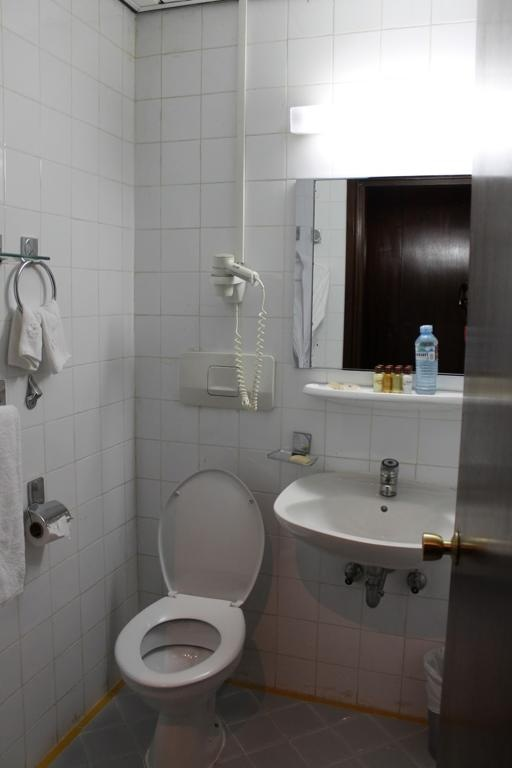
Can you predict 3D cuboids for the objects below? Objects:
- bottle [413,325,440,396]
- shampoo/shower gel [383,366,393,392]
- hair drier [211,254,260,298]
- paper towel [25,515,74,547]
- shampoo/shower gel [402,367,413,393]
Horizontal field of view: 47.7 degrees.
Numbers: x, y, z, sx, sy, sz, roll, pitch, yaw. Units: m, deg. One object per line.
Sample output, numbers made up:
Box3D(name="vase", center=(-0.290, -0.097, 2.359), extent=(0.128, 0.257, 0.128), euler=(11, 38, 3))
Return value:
Box3D(name="bottle", center=(0.529, -0.078, 1.795), extent=(0.074, 0.208, 0.101), euler=(4, 8, 17))
Box3D(name="shampoo/shower gel", center=(0.412, -0.018, 1.809), extent=(0.029, 0.077, 0.020), euler=(2, 7, 8))
Box3D(name="hair drier", center=(-0.063, -0.357, 1.956), extent=(0.157, 0.157, 0.178), euler=(3, 9, 11))
Box3D(name="paper towel", center=(-0.584, 0.416, 1.643), extent=(0.073, 0.094, 0.097), euler=(-20, -7, 30))
Box3D(name="shampoo/shower gel", center=(0.467, -0.017, 1.791), extent=(0.025, 0.078, 0.025), euler=(2, 7, 9))
